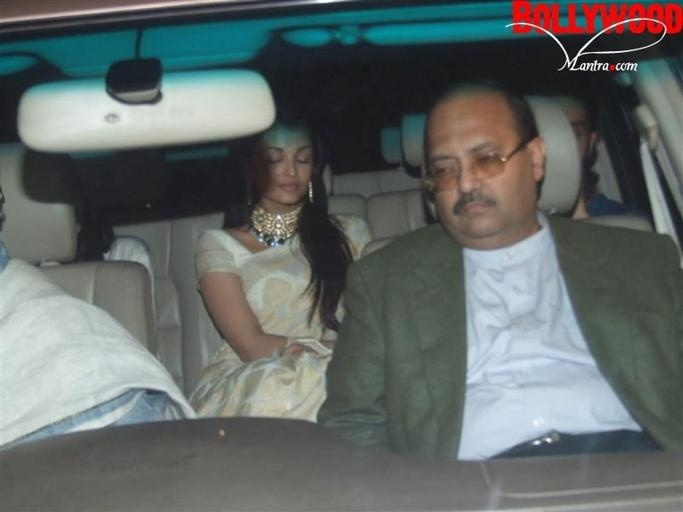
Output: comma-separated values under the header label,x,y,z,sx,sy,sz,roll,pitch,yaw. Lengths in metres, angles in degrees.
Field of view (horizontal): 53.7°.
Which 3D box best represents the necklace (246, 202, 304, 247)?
label,x,y,z,sx,sy,sz,roll,pitch,yaw
necklace,-0.244,-0.103,2.301,0.131,0.111,0.159,2,-7,-1
